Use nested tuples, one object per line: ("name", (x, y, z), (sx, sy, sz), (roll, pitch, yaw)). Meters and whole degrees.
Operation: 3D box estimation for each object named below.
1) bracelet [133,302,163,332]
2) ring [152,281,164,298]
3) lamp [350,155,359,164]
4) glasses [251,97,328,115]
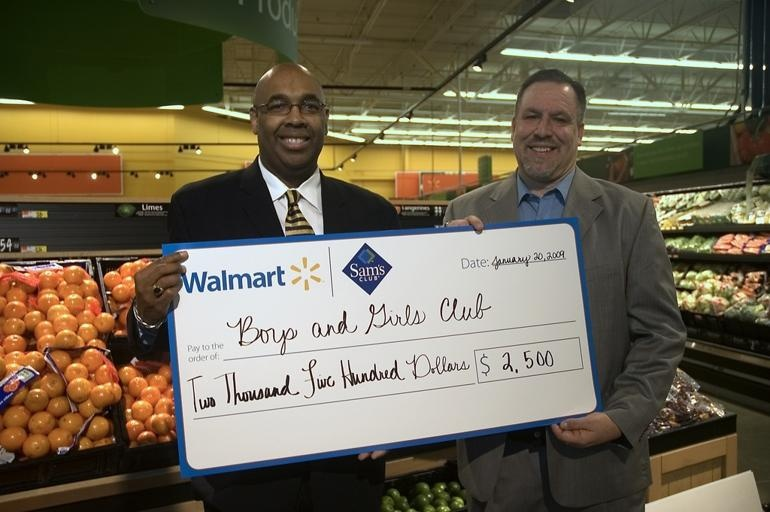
("bracelet", (-1.064, 0.263, 2.543), (0.142, 0.122, 0.055), (-4, 4, 7))
("ring", (-0.970, 0.139, 2.468), (0.031, 0.053, 0.059), (-14, 48, -7))
("lamp", (-1.133, -3.333, 19.855), (0.184, 0.213, 0.376), (19, 32, 14))
("glasses", (-0.450, -0.699, 2.747), (0.337, 0.087, 0.108), (-5, 4, -13))
